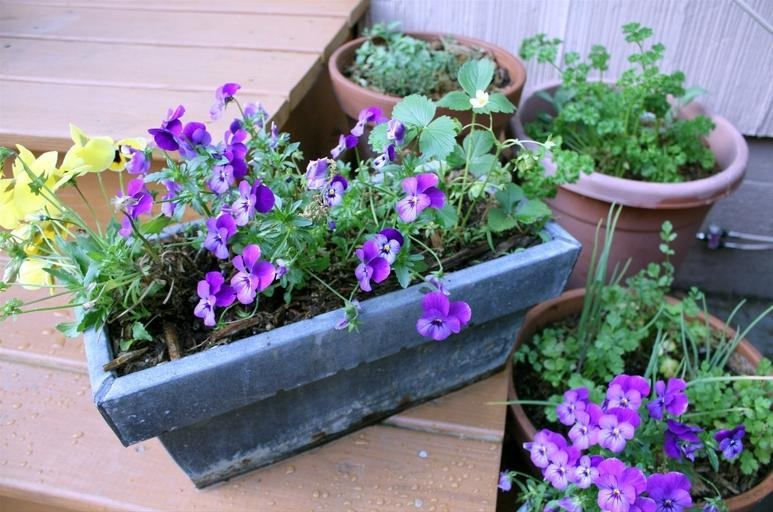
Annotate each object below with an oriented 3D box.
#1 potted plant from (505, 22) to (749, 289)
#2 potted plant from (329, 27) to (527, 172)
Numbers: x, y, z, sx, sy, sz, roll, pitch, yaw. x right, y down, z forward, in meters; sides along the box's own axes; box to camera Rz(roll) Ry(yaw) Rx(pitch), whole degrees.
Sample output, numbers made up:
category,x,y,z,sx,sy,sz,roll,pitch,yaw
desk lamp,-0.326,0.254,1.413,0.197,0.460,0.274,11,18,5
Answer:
category,x,y,z,sx,sy,sz,roll,pitch,yaw
potted plant,0.956,-0.470,2.840,0.974,1.037,1.024,2,52,7
potted plant,0.174,-0.783,2.801,0.613,0.317,0.659,11,39,14
